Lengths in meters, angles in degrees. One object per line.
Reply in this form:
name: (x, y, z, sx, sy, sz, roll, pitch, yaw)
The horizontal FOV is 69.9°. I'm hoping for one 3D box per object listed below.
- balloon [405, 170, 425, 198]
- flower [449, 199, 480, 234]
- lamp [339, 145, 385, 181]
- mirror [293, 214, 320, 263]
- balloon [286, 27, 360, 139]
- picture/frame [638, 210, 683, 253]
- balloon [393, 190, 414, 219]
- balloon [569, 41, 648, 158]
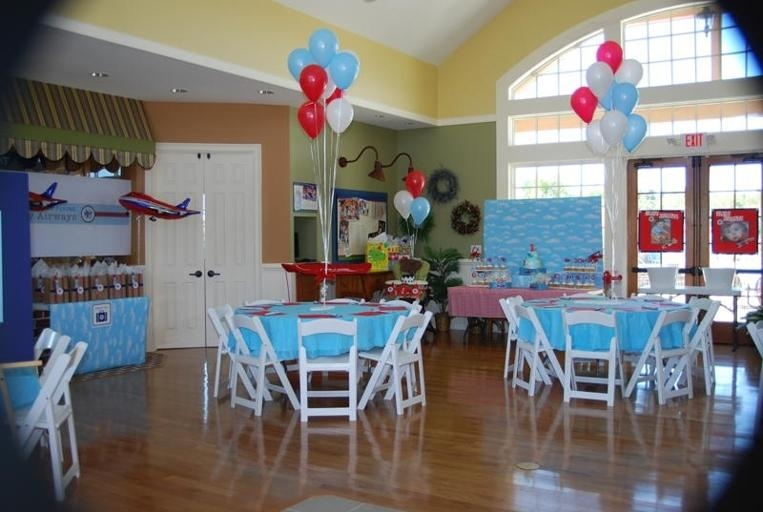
balloon: (0.619, -1.321, 10.073, 0.301, 0.482, 0.323, 1, 7, 13)
flower: (1.728, -0.771, 11.181, 0.636, 0.698, 0.203, 0, 7, 8)
lamp: (-0.337, -1.804, 10.574, 1.154, 0.713, 0.459, 10, 9, 43)
mirror: (-1.376, -0.323, 9.988, 0.478, 0.812, 0.257, 0, 7, 7)
balloon: (-0.760, -2.220, 7.078, 0.873, 1.361, 0.823, -2, 7, -10)
picture/frame: (5.085, -0.456, 9.842, 0.717, 0.766, 0.075, 1, 3, 23)
balloon: (0.405, -0.961, 10.211, 0.453, 0.713, 0.453, -5, 6, -2)
balloon: (3.344, -2.321, 7.963, 0.985, 1.569, 0.867, -7, 9, -43)
